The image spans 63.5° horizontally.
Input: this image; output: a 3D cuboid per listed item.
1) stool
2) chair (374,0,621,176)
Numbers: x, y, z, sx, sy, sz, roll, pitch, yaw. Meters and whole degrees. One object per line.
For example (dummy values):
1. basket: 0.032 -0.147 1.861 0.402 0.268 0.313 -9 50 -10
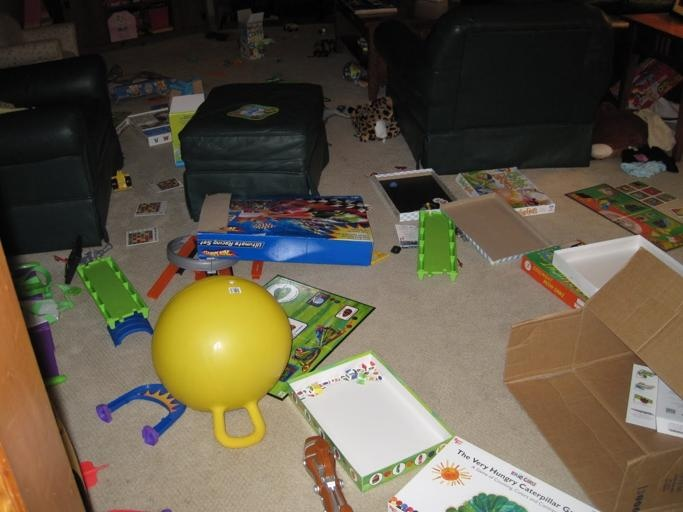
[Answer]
1. stool: -0.455 -0.444 3.227 0.708 0.478 0.977 3 37 2
2. chair: 0.863 -1.237 3.376 1.039 0.785 0.989 -4 41 -1
